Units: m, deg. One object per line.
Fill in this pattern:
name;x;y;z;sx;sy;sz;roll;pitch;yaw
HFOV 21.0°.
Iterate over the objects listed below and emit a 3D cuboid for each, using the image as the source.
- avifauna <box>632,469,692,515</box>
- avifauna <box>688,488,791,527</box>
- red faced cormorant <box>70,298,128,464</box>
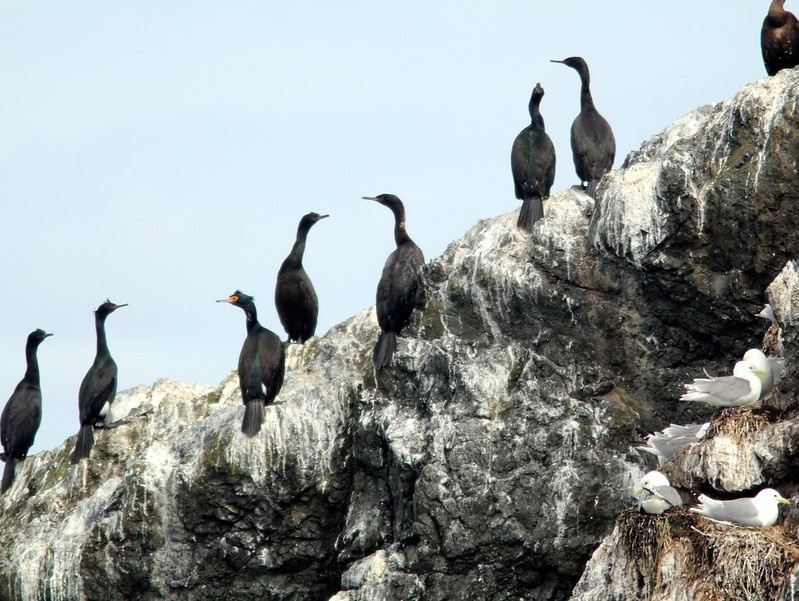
avifauna;3.153;2.372;26.133;0.537;0.602;0.351;-10;-27;10
avifauna;4.018;2.547;25.704;1.003;0.617;0.434;3;-12;10
red faced cormorant;-4.583;1.146;32.471;0.678;2.658;0.824;0;-26;-8
